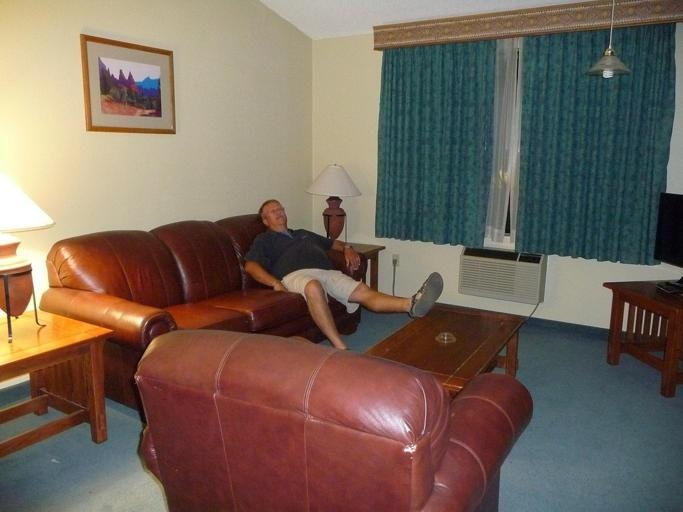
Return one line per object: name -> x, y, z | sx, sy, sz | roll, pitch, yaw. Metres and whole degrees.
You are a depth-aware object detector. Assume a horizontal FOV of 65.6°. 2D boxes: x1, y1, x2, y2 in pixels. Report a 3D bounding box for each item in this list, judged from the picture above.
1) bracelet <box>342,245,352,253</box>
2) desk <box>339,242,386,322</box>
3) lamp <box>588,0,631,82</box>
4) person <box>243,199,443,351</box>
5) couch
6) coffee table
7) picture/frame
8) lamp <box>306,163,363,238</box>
bracelet -> 0.044, -0.054, 4.557 | 0.063, 0.050, 0.112 | 1, 6, -2
desk -> 0.168, 0.262, 5.145 | 0.525, 0.525, 0.542 | 4, 51, -1
lamp -> 1.935, -1.586, 3.811 | 0.260, 0.587, 0.828 | 3, 16, 26
person -> -0.150, 0.075, 4.225 | 0.997, 0.673, 1.636 | -16, 30, -36
couch -> -0.905, 0.306, 3.125 | 0.530, 0.541, 1.202 | 6, 11, 35
coffee table -> 0.673, 0.729, 3.426 | 0.662, 0.405, 1.200 | 8, 15, 34
picture/frame -> -1.611, -1.281, 3.923 | 0.052, 0.702, 0.805 | 3, 8, 33
lamp -> -0.060, -0.452, 5.105 | 0.472, 0.731, 0.491 | 0, 0, -11
